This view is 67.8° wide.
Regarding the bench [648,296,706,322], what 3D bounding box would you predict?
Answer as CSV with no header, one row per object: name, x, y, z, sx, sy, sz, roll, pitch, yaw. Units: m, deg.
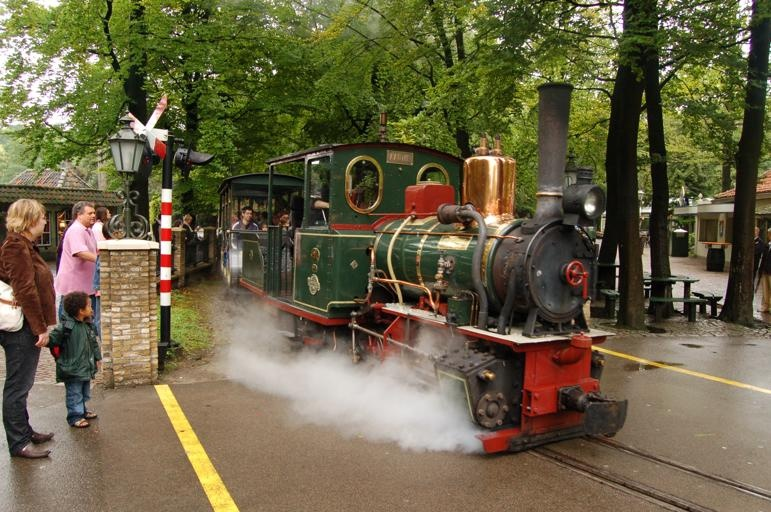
bench,7.252,1.277,14.195,1.128,0.579,2.163,2,2,41

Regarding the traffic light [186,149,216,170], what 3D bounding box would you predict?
traffic light,-3.366,-1.766,10.356,0.389,0.289,0.697,0,2,-14

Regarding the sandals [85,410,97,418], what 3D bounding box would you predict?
sandals,-4.036,2.170,7.796,0.162,0.069,0.060,1,2,3

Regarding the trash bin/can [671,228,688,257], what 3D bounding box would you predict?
trash bin/can,17.664,-0.738,34.160,0.893,1.531,0.743,1,3,21

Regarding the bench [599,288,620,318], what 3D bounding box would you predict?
bench,5.540,1.175,14.116,0.254,0.384,0.788,0,2,4

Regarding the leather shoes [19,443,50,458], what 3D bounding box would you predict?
leather shoes,-4.260,2.368,6.968,0.394,0.173,0.135,-1,0,-1
